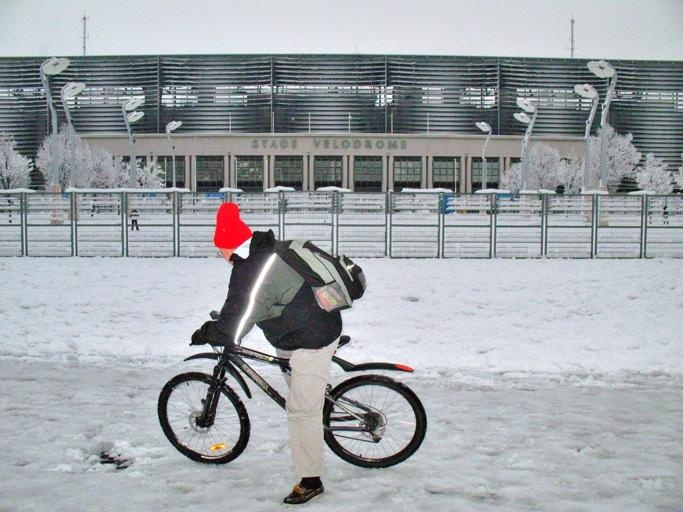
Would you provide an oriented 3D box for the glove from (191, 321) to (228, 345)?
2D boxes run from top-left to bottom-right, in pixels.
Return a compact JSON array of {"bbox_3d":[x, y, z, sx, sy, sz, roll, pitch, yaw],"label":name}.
[{"bbox_3d":[-2.246,1.275,16.660,0.520,0.417,0.230,-10,33,6],"label":"glove"}]

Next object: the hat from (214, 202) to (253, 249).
[{"bbox_3d":[-1.858,-0.526,16.310,0.630,0.757,0.255,-1,3,-4],"label":"hat"}]
